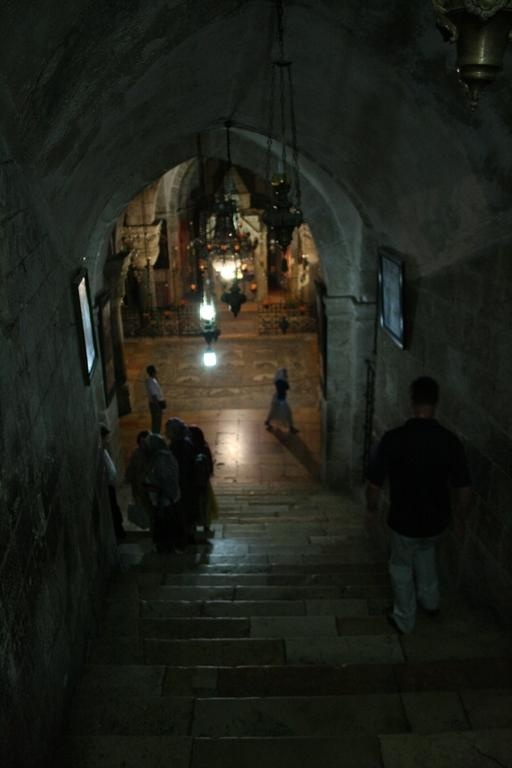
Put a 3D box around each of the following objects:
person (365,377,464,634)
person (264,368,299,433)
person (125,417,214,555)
[{"bbox_3d":[0.873,0.660,3.235,0.548,1.466,0.426,-8,19,-13],"label":"person"},{"bbox_3d":[0.412,0.311,10.245,0.549,1.093,0.840,-1,-4,1],"label":"person"},{"bbox_3d":[-0.769,0.964,5.382,0.487,0.611,1.351,-21,-32,-12],"label":"person"}]
